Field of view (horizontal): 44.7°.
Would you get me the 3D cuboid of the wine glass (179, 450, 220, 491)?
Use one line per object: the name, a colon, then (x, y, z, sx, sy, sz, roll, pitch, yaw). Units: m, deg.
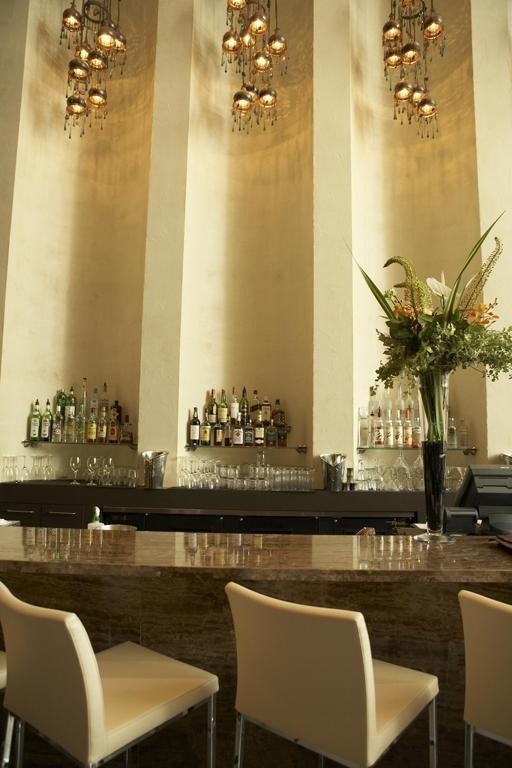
wine glass: (-0.402, 0.634, 4.479, 0.158, 0.320, 0.300, 2, -8, -7)

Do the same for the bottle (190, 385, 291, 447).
bottle: (-0.120, 0.244, 4.837, 0.771, 0.480, 0.386, 0, -5, 2)

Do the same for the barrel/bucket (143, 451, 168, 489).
barrel/bucket: (-0.680, 0.591, 4.255, 0.199, 0.272, 0.206, 0, -16, 0)

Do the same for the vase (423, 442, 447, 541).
vase: (0.576, 0.337, 2.013, 0.064, 0.302, 0.188, -1, -6, 15)

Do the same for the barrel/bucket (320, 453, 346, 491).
barrel/bucket: (0.536, 0.596, 4.191, 0.179, 0.239, 0.203, 0, -5, -5)
